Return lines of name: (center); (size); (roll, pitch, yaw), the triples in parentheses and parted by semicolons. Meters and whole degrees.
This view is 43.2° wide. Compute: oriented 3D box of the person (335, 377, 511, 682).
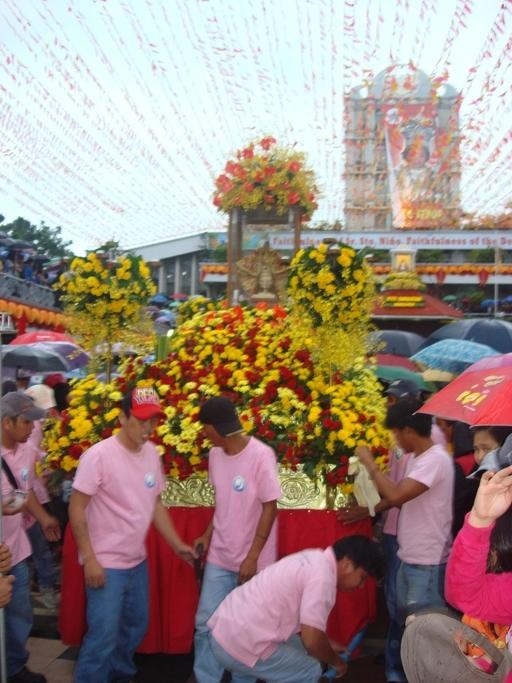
person: (0.776, 1.068, 3.414); (0.514, 1.362, 1.042); (2, 0, 8)

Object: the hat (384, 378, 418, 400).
hat: (1.060, 0.350, 4.636); (0.204, 0.096, 0.127); (18, -17, -15)

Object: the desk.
desk: (-0.242, 1.769, 4.672); (1.722, 0.916, 2.067); (8, -15, -12)

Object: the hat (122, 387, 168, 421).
hat: (-0.547, 0.296, 3.095); (0.139, 0.101, 0.187); (3, -4, -31)

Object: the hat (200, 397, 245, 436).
hat: (-0.164, 0.345, 3.101); (0.151, 0.102, 0.205); (-11, 23, -35)

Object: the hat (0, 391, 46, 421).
hat: (-1.298, 0.364, 3.666); (0.278, 0.152, 0.185); (1, 4, -24)
